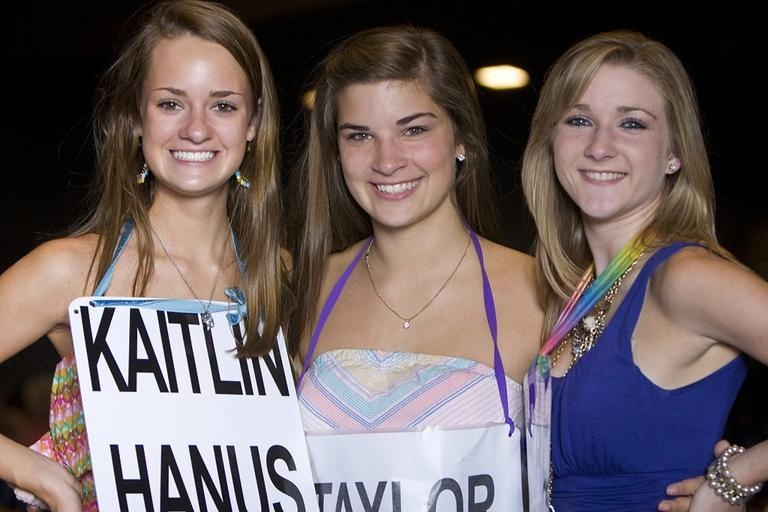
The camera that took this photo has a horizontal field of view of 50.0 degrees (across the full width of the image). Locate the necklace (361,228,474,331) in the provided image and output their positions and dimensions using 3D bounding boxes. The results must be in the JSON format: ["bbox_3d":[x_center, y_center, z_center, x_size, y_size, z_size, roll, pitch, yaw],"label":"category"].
[{"bbox_3d":[0.167,0.115,3.665,0.377,0.045,0.573,-7,56,28],"label":"necklace"}]

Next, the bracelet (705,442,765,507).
[{"bbox_3d":[1.283,0.825,3.064,0.223,0.172,0.091,-44,-11,-6],"label":"bracelet"}]

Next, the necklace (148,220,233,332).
[{"bbox_3d":[-0.806,0.094,3.377,0.349,0.526,0.039,-4,-17,-20],"label":"necklace"}]
